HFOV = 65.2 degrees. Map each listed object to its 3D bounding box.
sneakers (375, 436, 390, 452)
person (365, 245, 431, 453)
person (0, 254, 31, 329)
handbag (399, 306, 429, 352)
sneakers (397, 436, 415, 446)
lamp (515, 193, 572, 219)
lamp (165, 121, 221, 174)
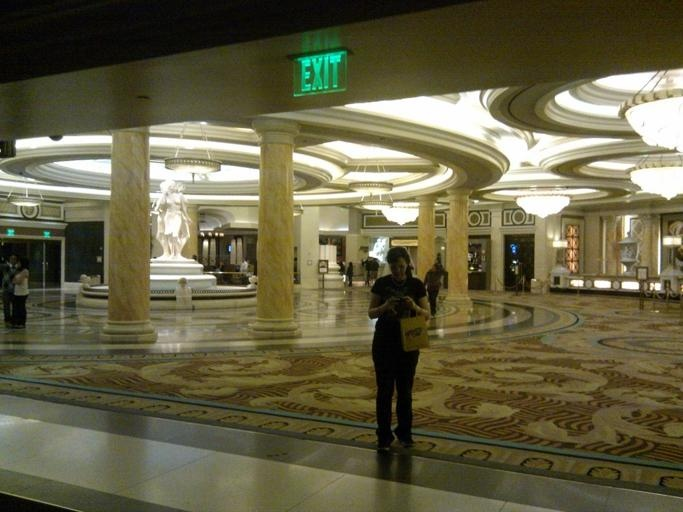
[{"bbox_3d":[0.341,1.519,4.329,0.121,0.099,0.170,-2,-2,3],"label":"sneakers"},{"bbox_3d":[0.498,0.755,4.396,0.503,1.639,0.324,-2,-2,-9],"label":"person"},{"bbox_3d":[-6.676,0.730,10.946,0.429,1.456,0.885,-1,-3,-32],"label":"person"},{"bbox_3d":[0.589,0.636,4.327,0.222,0.313,0.206,-2,-2,6],"label":"handbag"},{"bbox_3d":[0.544,1.544,4.433,0.054,0.062,0.142,2,0,-19],"label":"sneakers"},{"bbox_3d":[7.363,-1.913,19.875,1.225,0.512,1.180,1,0,-2],"label":"lamp"},{"bbox_3d":[-3.689,-2.801,13.716,1.512,1.505,1.480,2,-4,-17],"label":"lamp"}]
